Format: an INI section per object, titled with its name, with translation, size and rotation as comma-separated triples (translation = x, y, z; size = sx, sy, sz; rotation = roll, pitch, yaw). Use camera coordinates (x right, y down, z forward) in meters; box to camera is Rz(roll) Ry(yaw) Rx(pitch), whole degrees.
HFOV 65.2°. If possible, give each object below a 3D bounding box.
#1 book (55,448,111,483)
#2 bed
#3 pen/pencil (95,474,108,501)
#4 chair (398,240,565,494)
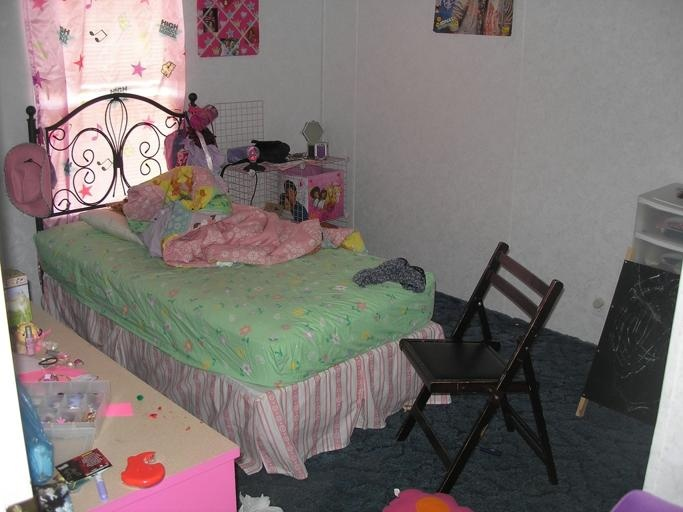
[book]
translation = -0.882, 0.726, 1.827
size = 0.130, 0.036, 0.147
rotation = 18, 27, 37
[bed]
translation = -0.876, 0.021, 3.784
size = 2.684, 1.663, 1.641
rotation = 16, 19, 37
[pen/pencil]
translation = -0.783, 0.760, 1.745
size = 0.026, 0.025, 0.142
rotation = 4, 15, -19
[chair]
translation = 0.710, 0.574, 2.808
size = 0.688, 1.106, 0.729
rotation = 1, 11, -4
